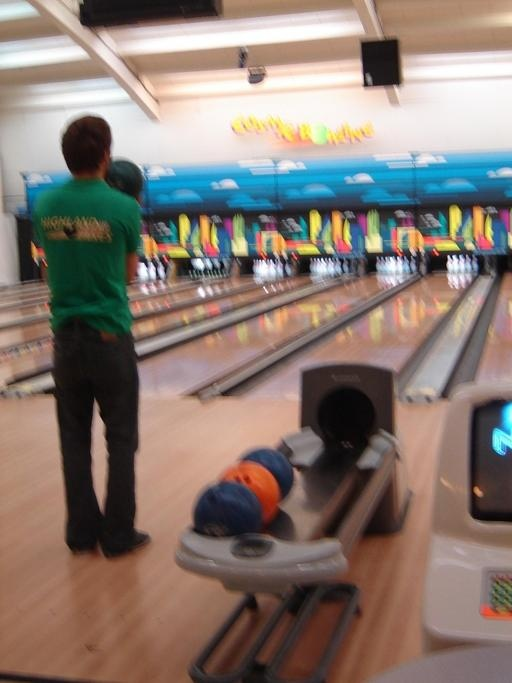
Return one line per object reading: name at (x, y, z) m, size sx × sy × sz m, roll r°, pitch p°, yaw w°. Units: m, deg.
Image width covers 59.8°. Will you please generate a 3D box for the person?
person at (-0.398, 0.027, 1.092) m, size 0.251 × 1.076 × 0.244 m, roll -5°, pitch 7°, yaw -17°
